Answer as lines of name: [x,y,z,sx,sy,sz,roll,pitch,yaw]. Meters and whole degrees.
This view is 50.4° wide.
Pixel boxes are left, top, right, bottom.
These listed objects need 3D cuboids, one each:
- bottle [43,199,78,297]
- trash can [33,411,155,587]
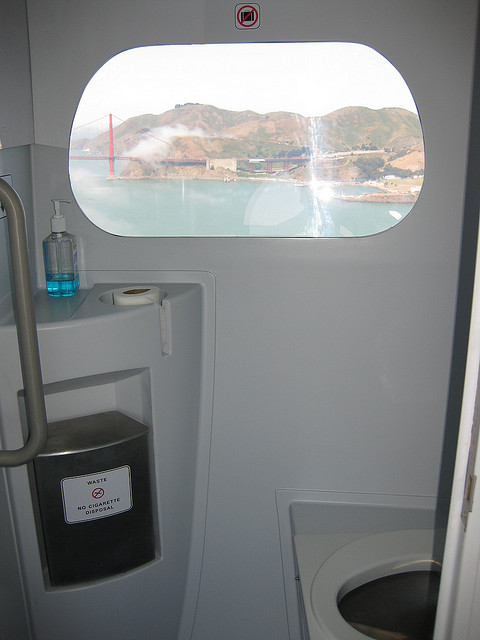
bottle: [-0.369,-0.149,1.051,0.067,0.188,0.077,-5,15,-21]
trash can: [-0.292,0.320,1.022,0.230,0.328,0.178,-5,28,-16]
